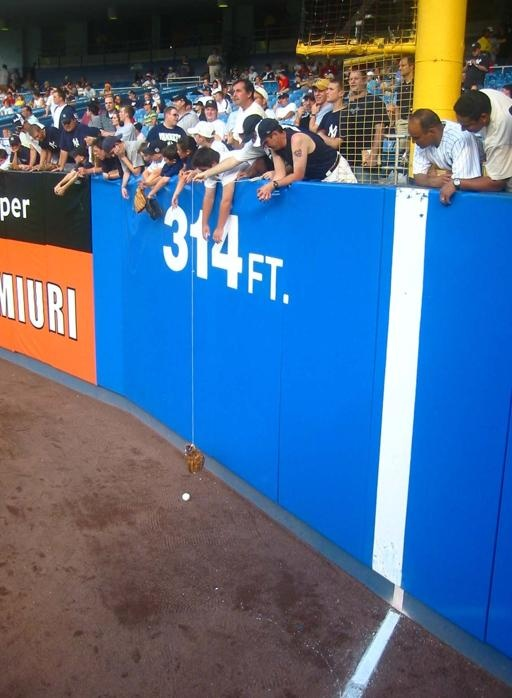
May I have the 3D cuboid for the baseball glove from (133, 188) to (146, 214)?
[{"bbox_3d":[-1.094,-1.398,5.687,0.050,0.226,0.144,-2,5,-32],"label":"baseball glove"}]

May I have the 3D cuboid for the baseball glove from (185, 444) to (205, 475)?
[{"bbox_3d":[-0.443,0.831,4.373,0.115,0.234,0.220,-2,13,-10],"label":"baseball glove"}]

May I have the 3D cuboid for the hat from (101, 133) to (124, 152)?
[{"bbox_3d":[-1.475,-2.115,6.213,0.164,0.180,0.397,-6,15,-24],"label":"hat"}]

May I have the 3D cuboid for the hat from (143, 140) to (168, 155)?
[{"bbox_3d":[-0.985,-1.968,5.900,0.175,0.102,0.273,-22,41,-8],"label":"hat"}]

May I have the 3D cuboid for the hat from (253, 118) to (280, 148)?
[{"bbox_3d":[0.069,-1.466,4.064,0.189,0.186,0.195,7,15,27],"label":"hat"}]

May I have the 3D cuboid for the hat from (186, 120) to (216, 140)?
[{"bbox_3d":[-0.521,-2.129,5.869,0.185,0.188,0.347,-2,14,-9],"label":"hat"}]

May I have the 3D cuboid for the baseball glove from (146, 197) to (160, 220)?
[{"bbox_3d":[-0.940,-1.284,5.481,0.073,0.123,0.202,-7,64,-47],"label":"baseball glove"}]
